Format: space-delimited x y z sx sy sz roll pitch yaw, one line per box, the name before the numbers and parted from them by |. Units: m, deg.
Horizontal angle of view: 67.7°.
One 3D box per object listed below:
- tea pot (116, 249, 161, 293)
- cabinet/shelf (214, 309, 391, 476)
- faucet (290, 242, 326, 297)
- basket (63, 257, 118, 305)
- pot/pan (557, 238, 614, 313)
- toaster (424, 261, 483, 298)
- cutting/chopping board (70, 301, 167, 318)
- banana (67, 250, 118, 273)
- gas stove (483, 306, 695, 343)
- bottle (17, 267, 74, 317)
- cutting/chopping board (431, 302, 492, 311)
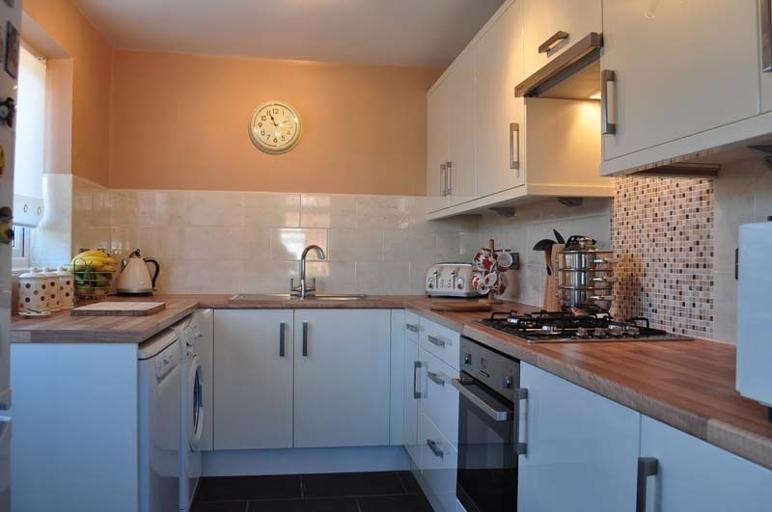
tea pot | -1.708 0.103 3.954 0.271 0.306 0.305 0 0 -15
cabinet/shelf | -0.553 0.811 3.856 1.229 0.895 0.470 -1 -18 3
faucet | -0.548 0.096 4.097 0.264 0.374 0.289 0 0 -8
basket | -1.781 0.133 3.511 0.236 0.255 0.234 -2 5 -15
pot/pan | 0.979 0.093 2.815 0.241 0.340 0.243 -1 1 -21
toaster | 0.469 0.154 4.011 0.339 0.216 0.293 1 5 25
cutting/chopping board | -1.389 0.273 3.077 0.394 0.039 0.568 0 0 -11
banana | -1.755 0.031 3.505 0.152 0.092 0.191 1 0 -10
gas stove | 0.858 0.307 2.617 0.788 0.079 0.583 0 0 -7
bottle | -1.719 0.188 2.902 0.090 0.153 0.231 1 -1 -3
cutting/chopping board | 0.446 0.288 3.280 0.383 0.036 0.177 0 0 -11
